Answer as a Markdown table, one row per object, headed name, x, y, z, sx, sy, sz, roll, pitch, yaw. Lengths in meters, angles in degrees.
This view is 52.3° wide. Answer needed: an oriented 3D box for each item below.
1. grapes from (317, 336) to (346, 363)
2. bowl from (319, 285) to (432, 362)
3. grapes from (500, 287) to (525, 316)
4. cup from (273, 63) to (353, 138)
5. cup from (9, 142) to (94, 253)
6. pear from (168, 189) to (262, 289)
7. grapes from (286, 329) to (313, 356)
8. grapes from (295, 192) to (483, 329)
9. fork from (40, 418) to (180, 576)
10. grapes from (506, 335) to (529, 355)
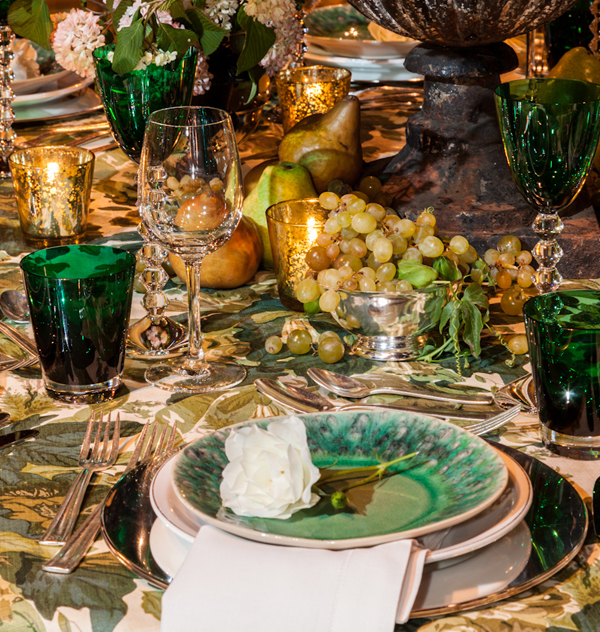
| name | x | y | z | sx | sy | sz | roll | pitch | yaw |
| --- | --- | --- | --- | --- | --- | --- | --- | --- | --- |
| grapes | 0.029 | 0.032 | 0.629 | 0.030 | 0.022 | 0.031 | -1 | 36 | -5 |
| bowl | 0.088 | 0.003 | 0.623 | 0.101 | 0.044 | 0.083 | -1 | 10 | 0 |
| grapes | 0.255 | -0.019 | 0.758 | 0.039 | 0.034 | 0.036 | -9 | 6 | 15 |
| cup | 0.019 | -0.417 | 1.209 | 0.205 | 0.118 | 0.183 | -4 | 21 | -7 |
| cup | -0.313 | -0.185 | 0.937 | 0.182 | 0.143 | 0.152 | 3 | 24 | -1 |
| pear | -0.088 | -0.091 | 0.800 | 0.136 | 0.091 | 0.108 | -4 | 7 | 2 |
| grapes | 0.001 | 0.027 | 0.648 | 0.035 | 0.028 | 0.029 | 0 | 3 | 5 |
| grapes | 0.100 | -0.078 | 0.664 | 0.216 | 0.090 | 0.177 | 9 | 20 | 20 |
| fork | -0.116 | 0.112 | 0.395 | 0.018 | 0.012 | 0.119 | -10 | 27 | 35 |
| grapes | 0.227 | 0.032 | 0.643 | 0.023 | 0.017 | 0.026 | -1 | -2 | 3 |
